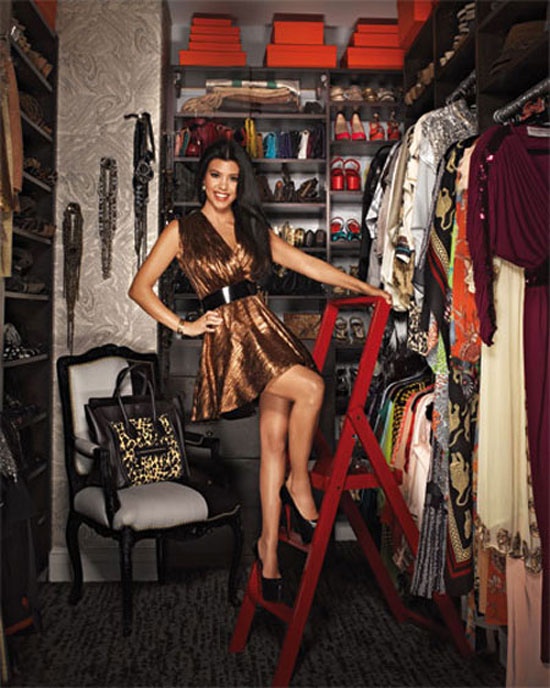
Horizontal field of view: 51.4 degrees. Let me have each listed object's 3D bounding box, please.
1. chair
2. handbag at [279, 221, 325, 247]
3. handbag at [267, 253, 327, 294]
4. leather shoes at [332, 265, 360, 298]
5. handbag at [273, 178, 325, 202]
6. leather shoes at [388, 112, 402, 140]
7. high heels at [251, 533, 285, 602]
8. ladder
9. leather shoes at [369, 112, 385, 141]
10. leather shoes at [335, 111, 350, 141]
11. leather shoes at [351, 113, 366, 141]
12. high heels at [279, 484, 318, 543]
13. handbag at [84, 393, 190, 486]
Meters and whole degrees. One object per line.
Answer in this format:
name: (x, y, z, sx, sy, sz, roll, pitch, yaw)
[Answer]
chair: (-0.487, 0.501, 2.196, 0.698, 0.992, 0.753, 2, -3, -18)
handbag: (0.144, -0.576, 3.069, 0.244, 0.100, 0.155, 8, -12, 8)
handbag: (0.073, -0.283, 2.329, 0.193, 0.211, 0.073, 2, -23, -7)
leather shoes: (0.395, -0.346, 3.066, 0.115, 0.161, 0.395, -1, 13, 9)
handbag: (0.128, -0.799, 3.046, 0.210, 0.152, 0.091, -2, -23, -1)
leather shoes: (0.634, -1.132, 3.034, 0.061, 0.196, 0.068, 2, -6, 9)
high heels: (-0.020, 0.619, 1.587, 0.052, 0.163, 0.056, -5, -1, -34)
ladder: (0.221, 0.404, 1.738, 0.671, 0.995, 0.731, -1, 0, 21)
leather shoes: (0.534, -1.124, 2.979, 0.062, 0.180, 0.056, -1, -16, 3)
leather shoes: (0.356, -1.154, 3.070, 0.087, 0.177, 0.039, -4, -9, 4)
leather shoes: (0.437, -1.142, 3.005, 0.057, 0.181, 0.058, -5, -17, 5)
high heels: (0.047, 0.555, 1.815, 0.065, 0.236, 0.065, -21, 33, -1)
handbag: (-0.491, 0.352, 2.069, 0.341, 0.340, 0.156, -2, -17, -41)
